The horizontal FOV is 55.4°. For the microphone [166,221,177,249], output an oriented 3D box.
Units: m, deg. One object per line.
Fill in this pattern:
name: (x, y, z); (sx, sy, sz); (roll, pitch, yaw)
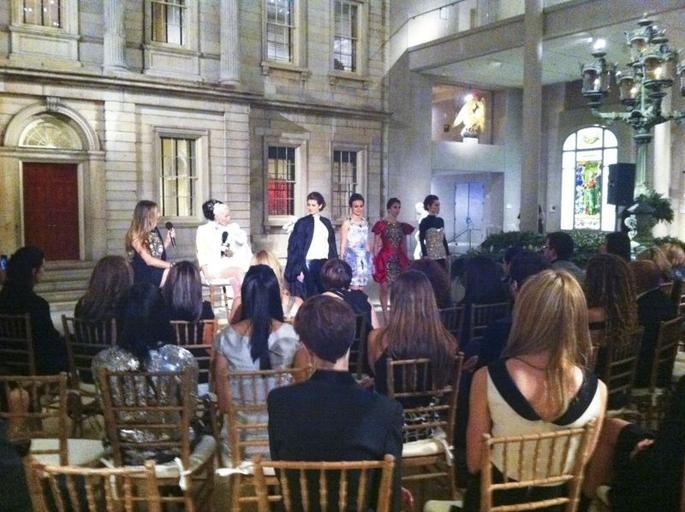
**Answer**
microphone: (-2.570, -0.304, 9.794); (0.110, 0.118, 0.644); (32, 2, -21)

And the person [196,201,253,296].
person: (-1.542, 0.036, 8.688); (0.726, 1.449, 0.803); (4, 10, 19)

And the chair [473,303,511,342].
chair: (1.406, 0.705, 6.226); (0.386, 0.538, 0.403); (-3, -5, 10)

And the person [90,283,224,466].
person: (-1.375, 0.959, 4.841); (0.686, 1.901, 1.078); (2, 25, -7)

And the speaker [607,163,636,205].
speaker: (4.634, -1.183, 10.903); (0.412, 0.700, 0.397); (1, 4, 18)

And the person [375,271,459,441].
person: (0.502, 0.737, 5.050); (0.620, 1.616, 0.873); (1, 34, 0)

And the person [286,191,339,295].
person: (-0.395, -0.025, 8.569); (0.751, 1.695, 0.407); (-9, 28, -18)
